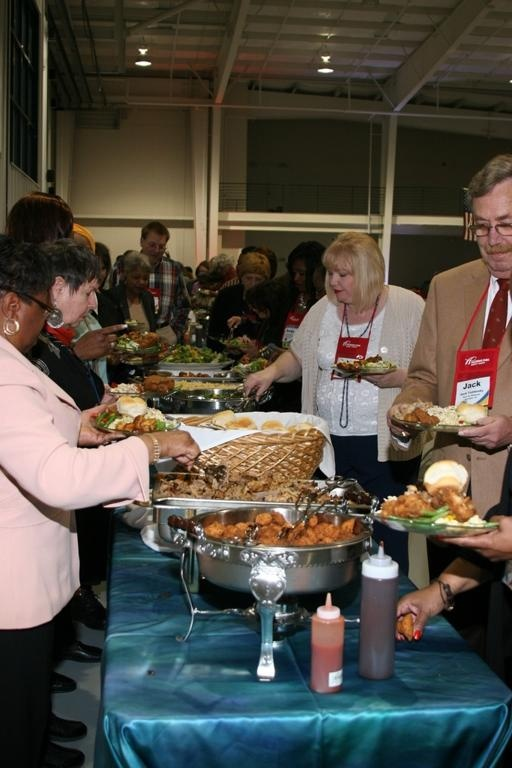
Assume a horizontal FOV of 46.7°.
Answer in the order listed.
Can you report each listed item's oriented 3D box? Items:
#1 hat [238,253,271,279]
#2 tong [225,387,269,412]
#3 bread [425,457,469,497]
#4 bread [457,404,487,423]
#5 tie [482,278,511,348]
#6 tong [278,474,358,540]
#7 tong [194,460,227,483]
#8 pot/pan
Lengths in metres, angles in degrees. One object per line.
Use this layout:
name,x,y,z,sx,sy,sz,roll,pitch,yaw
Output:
hat,-0.013,-1.014,5.176,0.218,0.208,0.281,4,2,-8
tong,-0.049,0.097,2.614,0.133,0.050,0.134,-24,-8,35
bread,0.329,0.166,1.022,0.065,0.064,0.021,36,22,-8
bread,0.530,0.074,1.449,0.057,0.027,0.049,-16,5,-28
tie,0.676,-0.195,1.651,0.060,0.192,0.120,-1,8,3
tong,0.120,0.221,1.071,0.140,0.046,0.092,-13,10,-37
tong,-0.106,0.184,1.310,0.065,0.035,0.041,24,51,38
pot/pan,0.070,0.280,1.022,0.293,0.100,0.291,-10,3,-36
